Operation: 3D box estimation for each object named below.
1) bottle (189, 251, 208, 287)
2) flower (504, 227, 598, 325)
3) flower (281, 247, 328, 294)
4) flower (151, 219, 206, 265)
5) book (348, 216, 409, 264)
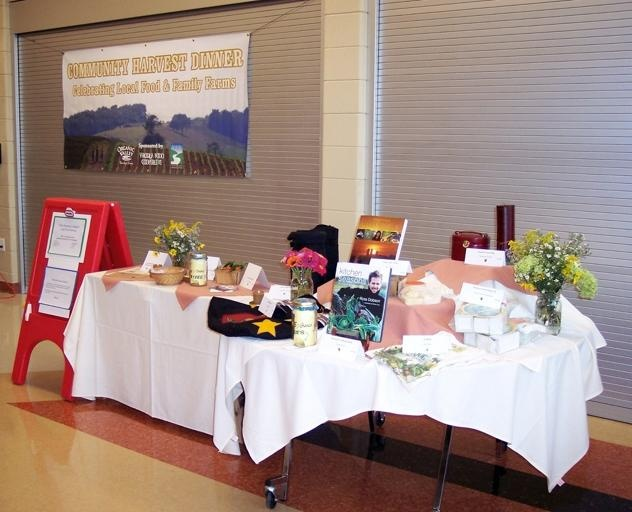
[{"bbox_3d":[-0.791,0.093,3.038,0.145,0.225,0.142,2,4,0],"label":"bottle"},{"bbox_3d":[1.078,0.128,2.159,0.333,0.430,0.377,4,7,-20],"label":"flower"},{"bbox_3d":[-0.052,0.083,2.457,0.253,0.259,0.239,4,10,4],"label":"flower"},{"bbox_3d":[-1.098,-0.118,3.709,0.508,0.404,0.448,-1,11,-15],"label":"flower"},{"bbox_3d":[0.318,-0.093,2.530,0.312,0.270,0.069,3,-17,38],"label":"book"}]
